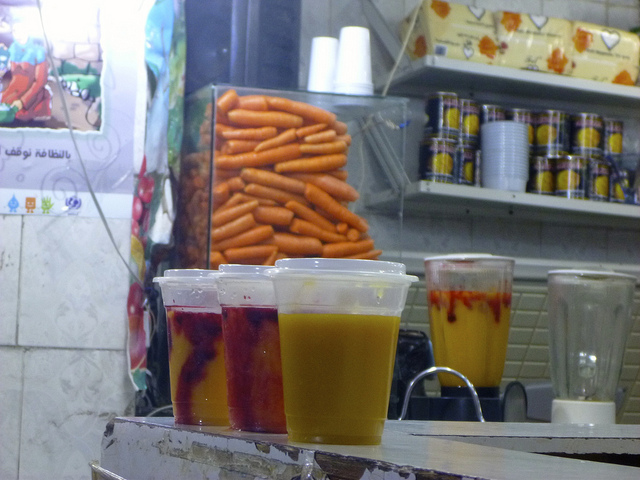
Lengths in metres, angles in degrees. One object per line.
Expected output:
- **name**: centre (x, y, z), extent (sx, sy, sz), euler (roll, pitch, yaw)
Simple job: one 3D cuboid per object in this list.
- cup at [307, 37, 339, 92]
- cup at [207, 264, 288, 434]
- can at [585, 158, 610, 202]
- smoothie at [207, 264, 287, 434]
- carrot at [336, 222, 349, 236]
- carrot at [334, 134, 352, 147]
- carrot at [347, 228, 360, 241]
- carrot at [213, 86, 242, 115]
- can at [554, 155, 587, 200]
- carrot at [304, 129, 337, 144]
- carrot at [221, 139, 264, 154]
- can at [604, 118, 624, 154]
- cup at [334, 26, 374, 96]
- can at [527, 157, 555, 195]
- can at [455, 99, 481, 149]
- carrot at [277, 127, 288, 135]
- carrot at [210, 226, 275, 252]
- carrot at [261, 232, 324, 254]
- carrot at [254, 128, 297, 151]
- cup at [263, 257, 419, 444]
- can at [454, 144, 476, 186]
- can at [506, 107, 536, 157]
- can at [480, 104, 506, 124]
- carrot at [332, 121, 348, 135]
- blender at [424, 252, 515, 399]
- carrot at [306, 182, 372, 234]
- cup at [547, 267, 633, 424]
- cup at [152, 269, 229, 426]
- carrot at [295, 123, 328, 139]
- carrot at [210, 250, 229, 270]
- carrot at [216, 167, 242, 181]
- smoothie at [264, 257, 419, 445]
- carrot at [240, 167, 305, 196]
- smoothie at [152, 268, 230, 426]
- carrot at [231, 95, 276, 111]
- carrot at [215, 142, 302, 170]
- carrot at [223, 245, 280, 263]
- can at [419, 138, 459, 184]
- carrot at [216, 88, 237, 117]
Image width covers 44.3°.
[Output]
- **cup**: centre (0.009, -0.500, 2.241), extent (0.089, 0.164, 0.095), euler (-1, 5, 0)
- **cup**: centre (-0.108, 0.172, 1.240), extent (0.193, 0.280, 0.213), euler (0, -9, -4)
- **can**: centre (1.024, -0.205, 2.923), extent (0.105, 0.166, 0.105), euler (1, -1, 0)
- **smoothie**: centre (-0.120, 0.171, 1.309), extent (0.178, 0.253, 0.183), euler (-2, -5, 32)
- **carrot**: centre (0.061, -0.031, 2.126), extent (0.027, 0.032, 0.031), euler (7, 16, 30)
- **carrot**: centre (0.061, -0.270, 2.133), extent (0.043, 0.022, 0.015), euler (11, -20, -16)
- **carrot**: centre (0.090, -0.015, 2.131), extent (0.031, 0.032, 0.030), euler (-30, 11, 14)
- **carrot**: centre (-0.239, -0.360, 2.041), extent (0.071, 0.068, 0.009), euler (-3, 6, -23)
- **can**: centre (0.916, -0.225, 2.897), extent (0.121, 0.149, 0.127), euler (2, -1, 1)
- **carrot**: centre (0.003, -0.275, 2.105), extent (0.097, 0.034, 0.032), euler (-12, 17, -18)
- **carrot**: centre (-0.200, -0.249, 2.062), extent (0.111, 0.033, 0.031), euler (-10, 0, -27)
- **can**: centre (1.118, -0.390, 2.968), extent (0.053, 0.129, 0.138), euler (4, 7, 40)
- **cup**: centre (0.092, -0.501, 2.193), extent (0.105, 0.198, 0.140), euler (-1, 5, 2)
- **can**: centre (0.808, -0.234, 2.891), extent (0.121, 0.141, 0.122), euler (5, -6, -41)
- **can**: centre (0.552, -0.417, 2.829), extent (0.141, 0.170, 0.146), euler (-2, 12, -10)
- **carrot**: centre (-0.103, -0.291, 2.085), extent (0.016, 0.013, 0.015), euler (-1, 3, -30)
- **carrot**: centre (-0.203, -0.001, 2.038), extent (0.149, 0.064, 0.094), euler (2, -3, -33)
- **carrot**: centre (-0.063, 0.008, 2.076), extent (0.181, 0.061, 0.056), euler (4, 22, -12)
- **carrot**: centre (-0.123, -0.265, 2.072), extent (0.089, 0.026, 0.024), euler (-20, 44, -9)
- **cup**: centre (0.013, 0.183, 1.271), extent (0.244, 0.263, 0.251), euler (2, -12, 0)
- **can**: centre (0.504, -0.261, 2.791), extent (0.095, 0.155, 0.101), euler (5, 0, 0)
- **can**: centre (0.742, -0.400, 2.902), extent (0.105, 0.188, 0.211), euler (1, 5, 16)
- **can**: centre (0.617, -0.446, 2.801), extent (0.064, 0.078, 0.068), euler (2, 5, 2)
- **carrot**: centre (0.055, -0.304, 2.130), extent (0.043, 0.023, 0.021), euler (21, 30, -18)
- **blender**: centre (0.346, 0.198, 1.846), extent (0.202, 0.332, 0.117), euler (1, 5, 15)
- **carrot**: centre (0.043, -0.083, 2.117), extent (0.160, 0.046, 0.040), euler (35, 29, -18)
- **cup**: centre (0.605, 0.210, 1.764), extent (0.180, 0.285, 0.096), euler (1, 6, 18)
- **cup**: centre (-0.210, 0.173, 1.375), extent (0.171, 0.248, 0.169), euler (1, -1, 0)
- **carrot**: centre (-0.028, -0.294, 2.098), extent (0.095, 0.032, 0.026), euler (-19, 40, -11)
- **carrot**: centre (-0.253, 0.049, 2.024), extent (0.055, 0.060, 0.021), euler (-7, 10, -17)
- **carrot**: centre (-0.236, -0.172, 2.040), extent (0.065, 0.029, 0.011), euler (-2, 5, -9)
- **smoothie**: centre (0.033, 0.163, 1.188), extent (0.228, 0.275, 0.096), euler (-1, 5, -5)
- **carrot**: centre (-0.124, -0.158, 2.069), extent (0.217, 0.062, 0.053), euler (11, -22, -9)
- **smoothie**: centre (-0.201, 0.182, 1.378), extent (0.189, 0.271, 0.189), euler (1, -3, -32)
- **carrot**: centre (-0.175, -0.361, 2.064), extent (0.113, 0.041, 0.019), euler (-3, 6, -23)
- **carrot**: centre (-0.157, -0.216, 2.059), extent (0.251, 0.058, 0.063), euler (-8, 0, -16)
- **carrot**: centre (-0.174, 0.023, 2.077), extent (0.157, 0.047, 0.046), euler (-7, 29, -11)
- **can**: centre (0.414, -0.261, 2.754), extent (0.145, 0.167, 0.142), euler (12, -12, -38)
- **carrot**: centre (-0.244, -0.357, 2.036), extent (0.077, 0.039, 0.027), euler (-47, 33, -15)
